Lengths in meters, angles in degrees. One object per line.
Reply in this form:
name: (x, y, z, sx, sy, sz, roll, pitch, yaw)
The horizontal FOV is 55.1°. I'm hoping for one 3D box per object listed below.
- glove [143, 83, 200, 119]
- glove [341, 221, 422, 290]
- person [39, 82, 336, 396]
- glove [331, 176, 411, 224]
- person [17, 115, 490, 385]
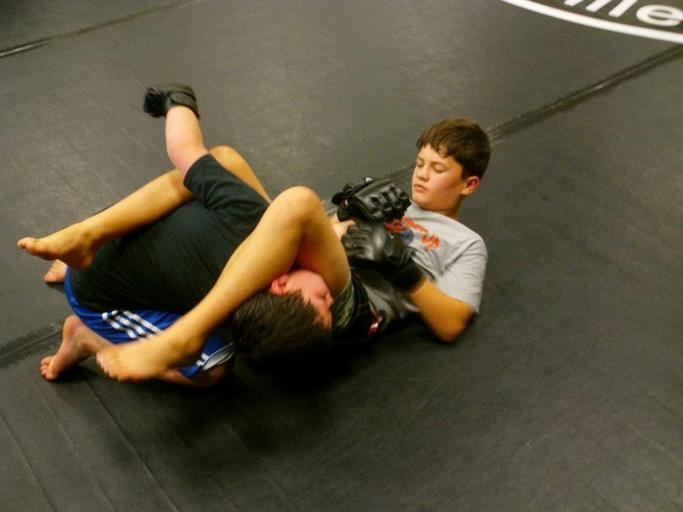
glove: (-0.643, -0.575, 2.489, 0.193, 0.094, 0.140, 2, 11, -7)
glove: (0.132, 0.015, 2.485, 0.317, 0.143, 0.193, 27, 50, -9)
person: (-0.471, -0.008, 2.347, 1.060, 0.530, 1.069, 13, 63, 16)
glove: (0.104, -0.189, 2.587, 0.208, 0.116, 0.262, -33, 21, -36)
person: (-0.218, 0.040, 2.418, 1.586, 0.805, 0.973, 0, 22, -18)
